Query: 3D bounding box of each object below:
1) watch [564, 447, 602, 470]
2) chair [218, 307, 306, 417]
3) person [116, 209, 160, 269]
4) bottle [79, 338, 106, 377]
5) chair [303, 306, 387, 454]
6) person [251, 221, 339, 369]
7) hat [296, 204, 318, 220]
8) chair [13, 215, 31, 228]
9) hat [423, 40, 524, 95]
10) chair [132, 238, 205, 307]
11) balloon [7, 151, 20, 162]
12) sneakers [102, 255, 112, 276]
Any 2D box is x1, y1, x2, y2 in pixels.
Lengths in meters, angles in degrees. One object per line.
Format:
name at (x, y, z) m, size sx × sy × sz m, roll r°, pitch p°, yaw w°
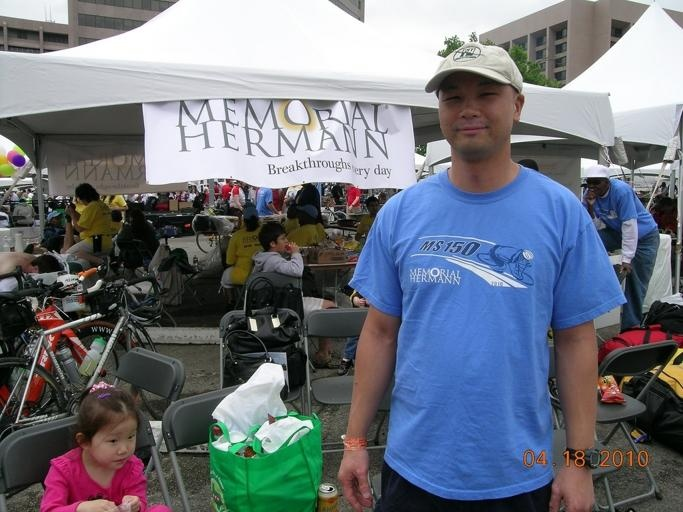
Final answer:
watch at (0.807, 0.655, 1.787) m, size 0.087 × 0.054 × 0.070 m, roll 4°, pitch -2°, yaw 12°
chair at (-0.580, 0.774, 3.985) m, size 0.706 × 0.343 × 0.863 m, roll 5°, pitch 32°, yaw -5°
person at (-3.282, -0.295, 8.784) m, size 0.605 × 0.938 × 0.589 m, roll -5°, pitch 0°, yaw -35°
bottle at (-1.993, 0.808, 4.303) m, size 0.128 × 0.076 × 0.320 m, roll 21°, pitch 41°, yaw 0°
chair at (0.018, 1.036, 4.611) m, size 0.619 × 1.101 × 0.791 m, roll -4°, pitch -8°, yaw 9°
person at (-0.462, 0.488, 5.936) m, size 0.963 × 1.741 × 0.873 m, roll -7°, pitch 20°, yaw -42°
hat at (-0.509, -0.666, 8.121) m, size 0.276 × 0.158 × 0.208 m, roll 9°, pitch 8°, yaw 16°
chair at (-12.066, -1.330, 20.456) m, size 0.630 × 0.506 × 0.515 m, roll 0°, pitch 1°, yaw 2°
hat at (0.469, -0.660, 1.909) m, size 0.280 × 0.179 × 0.363 m, roll 0°, pitch 2°, yaw 9°
chair at (-2.654, 0.145, 8.528) m, size 0.782 × 0.916 × 0.848 m, roll 14°, pitch 30°, yaw 25°
balloon at (-8.687, -2.642, 14.270) m, size 0.370 × 0.298 × 0.361 m, roll -9°, pitch 11°, yaw -35°
sneakers at (-2.523, 0.096, 5.788) m, size 0.158 × 0.243 × 0.090 m, roll -9°, pitch -6°, yaw 42°
